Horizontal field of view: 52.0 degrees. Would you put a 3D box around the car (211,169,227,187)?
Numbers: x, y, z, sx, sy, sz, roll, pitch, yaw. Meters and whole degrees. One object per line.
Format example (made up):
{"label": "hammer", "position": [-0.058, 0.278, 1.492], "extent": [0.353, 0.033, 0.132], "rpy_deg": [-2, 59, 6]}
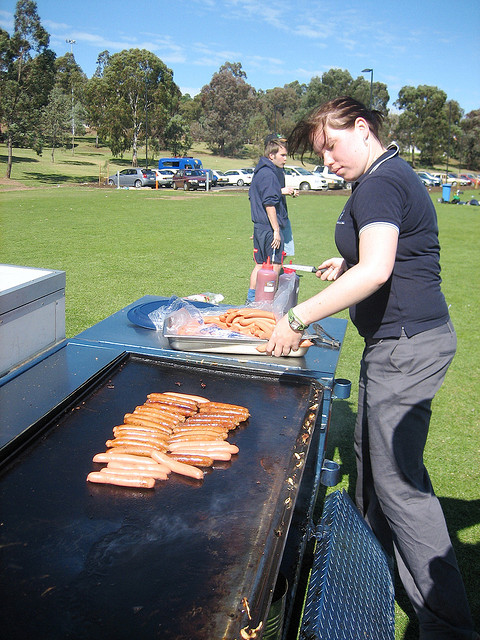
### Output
{"label": "car", "position": [-1.537, -11.457, 39.986], "extent": [1.063, 1.183, 1.948], "rpy_deg": [2, 12, -5]}

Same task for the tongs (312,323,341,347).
{"label": "tongs", "position": [0.490, 0.091, 2.811], "extent": [0.141, 0.112, 0.068], "rpy_deg": [28, -18, 11]}

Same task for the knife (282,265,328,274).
{"label": "knife", "position": [0.407, -0.327, 3.055], "extent": [0.077, 0.042, 0.369], "rpy_deg": [3, 5, -23]}

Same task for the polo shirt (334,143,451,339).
{"label": "polo shirt", "position": [0.502, -0.248, 1.647], "extent": [0.323, 0.705, 0.473], "rpy_deg": [14, 16, 40]}

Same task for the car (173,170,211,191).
{"label": "car", "position": [-3.200, -9.138, 32.487], "extent": [2.158, 1.129, 1.065], "rpy_deg": [2, 12, -8]}

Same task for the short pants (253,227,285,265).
{"label": "short pants", "position": [0.341, -0.864, 5.849], "extent": [0.357, 0.427, 0.293], "rpy_deg": [4, 12, 1]}

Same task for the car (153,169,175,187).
{"label": "car", "position": [-5.151, -9.716, 34.011], "extent": [0.873, 0.635, 1.895], "rpy_deg": [-7, 32, -18]}

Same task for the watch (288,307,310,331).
{"label": "watch", "position": [0.193, -0.002, 1.602], "extent": [0.057, 0.040, 0.067], "rpy_deg": [32, 21, 0]}

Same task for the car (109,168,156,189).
{"label": "car", "position": [-7.228, -9.750, 33.816], "extent": [2.659, 1.148, 1.535], "rpy_deg": [11, 25, 14]}
